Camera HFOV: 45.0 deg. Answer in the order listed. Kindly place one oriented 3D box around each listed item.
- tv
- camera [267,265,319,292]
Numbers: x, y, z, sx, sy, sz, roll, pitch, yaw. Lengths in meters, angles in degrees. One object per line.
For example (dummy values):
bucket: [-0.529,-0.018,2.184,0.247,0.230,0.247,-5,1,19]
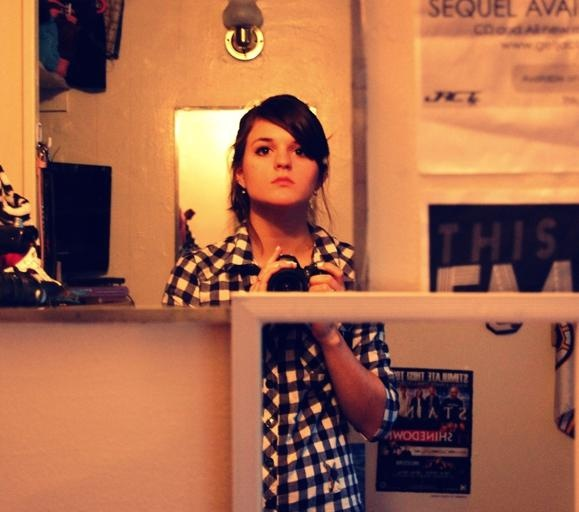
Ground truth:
tv: [-0.653,-0.101,2.089,0.140,0.359,0.264,2,2,23]
camera: [0.008,0.031,0.984,0.077,0.037,0.051,1,2,-1]
